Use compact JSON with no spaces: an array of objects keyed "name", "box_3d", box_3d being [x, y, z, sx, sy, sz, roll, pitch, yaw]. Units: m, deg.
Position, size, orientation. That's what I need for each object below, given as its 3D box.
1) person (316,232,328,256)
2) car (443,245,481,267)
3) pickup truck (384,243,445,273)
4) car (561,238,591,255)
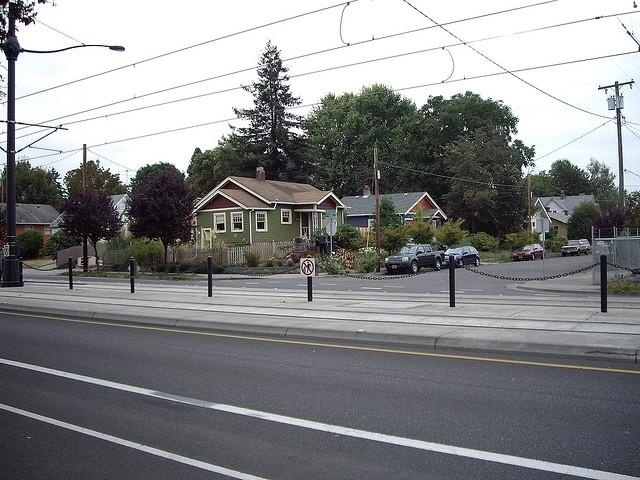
[{"name":"person","box_3d":[0.155,0.285,42.721,0.738,1.297,1.650,-2,4,-2]},{"name":"car","box_3d":[8.571,1.013,40.129,1.038,0.910,2.383,-4,-5,36]},{"name":"pickup truck","box_3d":[5.216,1.018,37.363,1.350,1.494,3.839,-4,-2,32]},{"name":"car","box_3d":[23.569,0.729,61.186,1.463,1.191,2.717,-4,-4,42]}]
